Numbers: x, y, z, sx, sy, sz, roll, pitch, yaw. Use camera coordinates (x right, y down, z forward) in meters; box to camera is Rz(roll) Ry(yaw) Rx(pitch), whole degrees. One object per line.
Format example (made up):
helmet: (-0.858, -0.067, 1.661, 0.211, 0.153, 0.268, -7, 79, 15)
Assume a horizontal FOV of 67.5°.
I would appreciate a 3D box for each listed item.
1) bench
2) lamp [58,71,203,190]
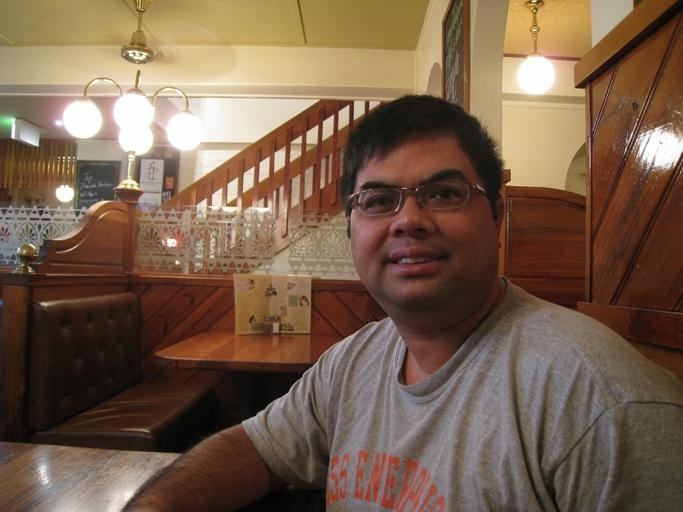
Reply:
bench: (-1.066, 0.602, 2.676, 0.605, 0.840, 1.172, 3, -2, -3)
lamp: (-1.543, -0.968, 3.811, 0.893, 1.010, 0.932, 3, 0, -4)
